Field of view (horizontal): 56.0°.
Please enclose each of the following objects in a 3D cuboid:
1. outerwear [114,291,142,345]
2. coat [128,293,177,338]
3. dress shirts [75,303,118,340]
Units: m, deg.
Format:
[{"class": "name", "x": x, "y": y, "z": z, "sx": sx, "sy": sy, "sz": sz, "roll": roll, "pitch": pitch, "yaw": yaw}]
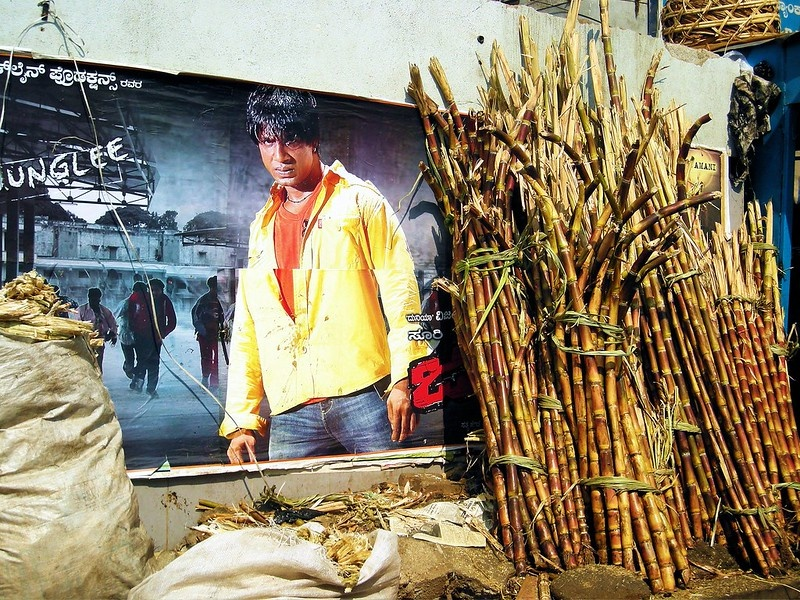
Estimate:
[{"class": "outerwear", "x": -1.583, "y": 0.120, "z": 4.318, "sx": 0.146, "sy": 0.216, "sz": 0.086, "roll": 6, "pitch": -11, "yaw": -23}, {"class": "coat", "x": -1.473, "y": 0.085, "z": 4.469, "sx": 0.264, "sy": 0.269, "sz": 0.147, "roll": 6, "pitch": -3, "yaw": -19}, {"class": "dress shirts", "x": -1.757, "y": 0.126, "z": 4.357, "sx": 0.220, "sy": 0.212, "sz": 0.066, "roll": -2, "pitch": -1, "yaw": -16}]
